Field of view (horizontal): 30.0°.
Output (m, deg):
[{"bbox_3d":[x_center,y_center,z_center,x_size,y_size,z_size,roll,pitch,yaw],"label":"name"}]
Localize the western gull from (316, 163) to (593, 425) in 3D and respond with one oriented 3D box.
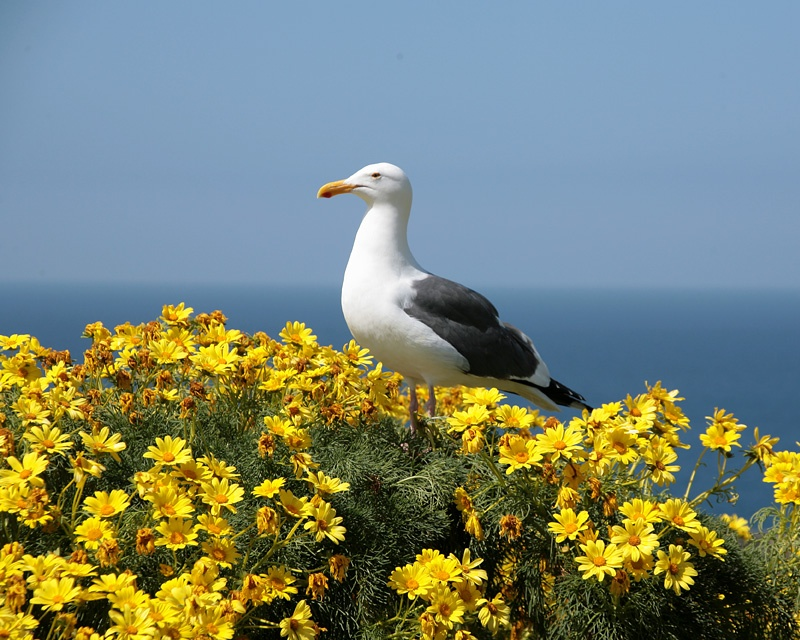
[{"bbox_3d":[0.228,-0.117,6.828,1.241,1.232,0.625,-1,8,-14],"label":"western gull"}]
